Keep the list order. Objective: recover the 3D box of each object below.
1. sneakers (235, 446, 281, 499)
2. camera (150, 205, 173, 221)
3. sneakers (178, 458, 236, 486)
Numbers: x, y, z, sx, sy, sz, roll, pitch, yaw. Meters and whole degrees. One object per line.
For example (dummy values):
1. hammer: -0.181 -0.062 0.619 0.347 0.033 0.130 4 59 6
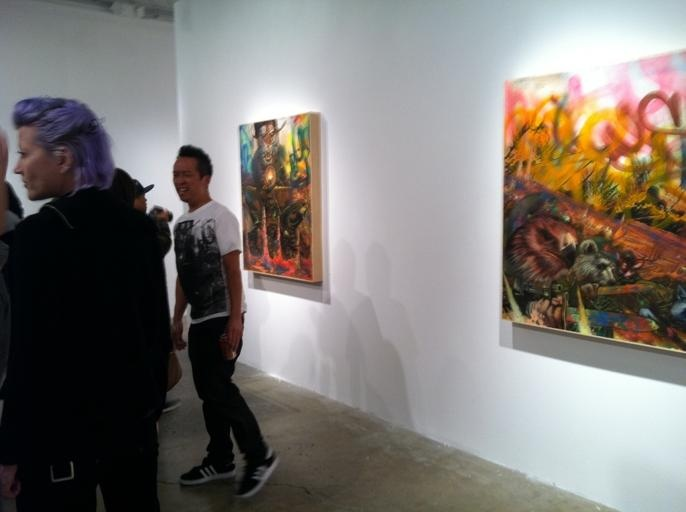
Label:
1. sneakers: -0.550 1.446 3.153 0.144 0.163 0.408 -4 35 40
2. camera: -1.577 -0.368 4.045 0.122 0.094 0.206 7 -12 12
3. sneakers: -0.940 1.498 3.238 0.392 0.179 0.150 3 -5 -17
